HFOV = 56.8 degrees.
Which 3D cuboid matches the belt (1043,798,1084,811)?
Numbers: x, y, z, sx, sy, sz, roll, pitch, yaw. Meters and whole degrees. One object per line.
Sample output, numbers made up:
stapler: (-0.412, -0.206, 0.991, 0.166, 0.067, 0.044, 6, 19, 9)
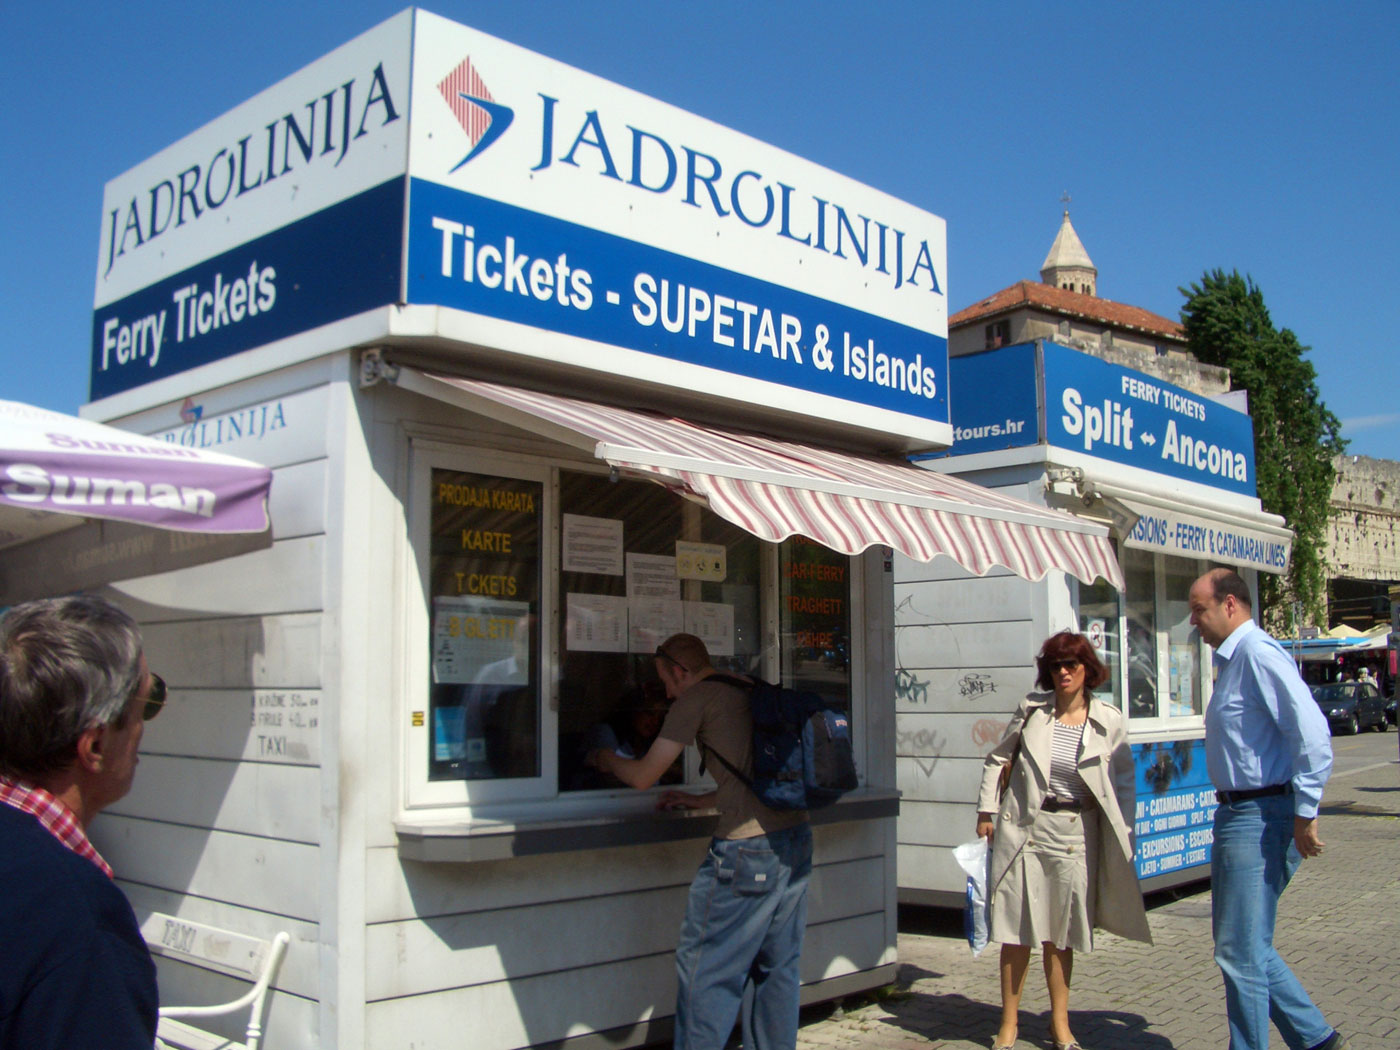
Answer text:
belt: (1.865, 1.452, 6.697, 0.106, 0.044, 0.096, 5, -9, 28)
